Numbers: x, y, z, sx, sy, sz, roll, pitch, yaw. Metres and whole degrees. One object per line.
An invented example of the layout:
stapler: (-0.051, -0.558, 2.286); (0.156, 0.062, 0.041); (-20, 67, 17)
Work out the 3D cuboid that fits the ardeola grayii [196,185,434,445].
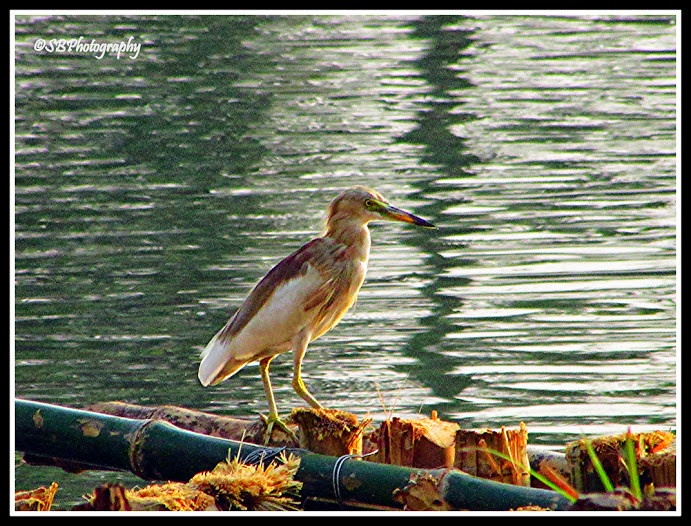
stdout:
ardeola grayii: (-0.524, 0.514, 15.854); (1.695, 2.312, 0.638); (10, -4, -1)
